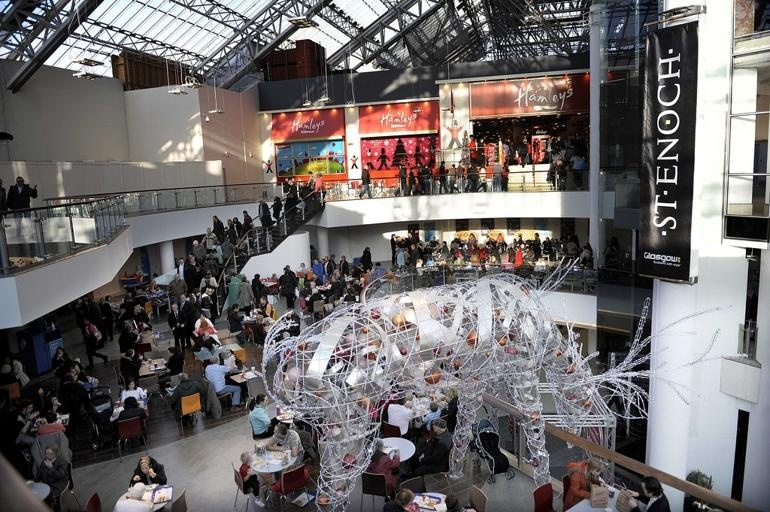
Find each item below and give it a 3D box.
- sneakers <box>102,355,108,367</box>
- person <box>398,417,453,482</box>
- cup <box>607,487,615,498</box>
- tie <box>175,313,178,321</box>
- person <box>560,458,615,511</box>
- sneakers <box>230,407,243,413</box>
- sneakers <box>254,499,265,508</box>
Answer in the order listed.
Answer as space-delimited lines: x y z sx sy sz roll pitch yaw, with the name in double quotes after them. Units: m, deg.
-8.976 3.364 17.389 0.100 0.353 0.220 -1 10 10 "sneakers"
1.004 4.528 12.255 0.914 1.773 0.692 4 13 4 "person"
4.274 4.506 10.281 0.122 0.137 0.132 1 -1 0 "cup"
-6.850 1.987 17.826 0.056 0.237 0.163 5 -24 -20 "tie"
3.707 4.307 10.284 0.761 0.922 0.635 -1 6 5 "person"
-4.112 4.241 14.950 0.309 0.173 0.142 -2 8 -11 "sneakers"
-2.782 5.484 12.038 0.259 0.212 0.101 0 3 25 "sneakers"
